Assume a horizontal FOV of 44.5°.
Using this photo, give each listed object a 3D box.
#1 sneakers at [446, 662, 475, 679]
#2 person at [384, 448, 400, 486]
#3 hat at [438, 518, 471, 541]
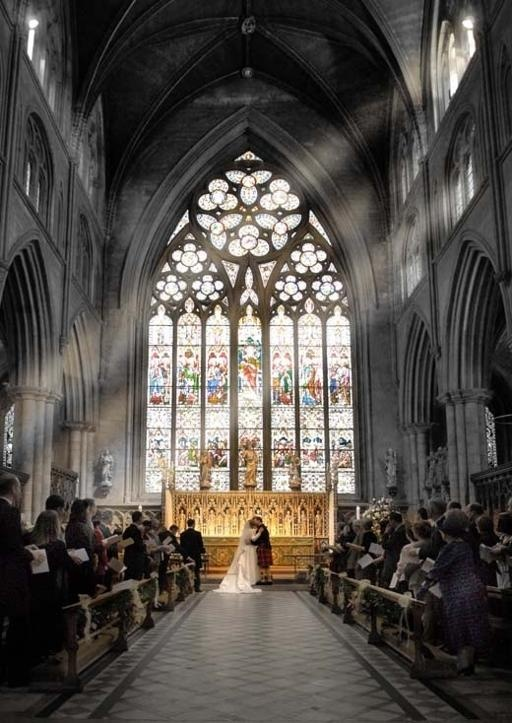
[{"bbox_3d":[1.725,2.587,5.245,0.191,0.121,0.331,-6,-13,19],"label":"sneakers"},{"bbox_3d":[4.710,3.764,21.796,0.462,1.308,0.606,-6,-13,18],"label":"person"},{"bbox_3d":[1.714,1.462,5.398,0.234,0.187,0.278,-7,-13,20],"label":"hat"}]
